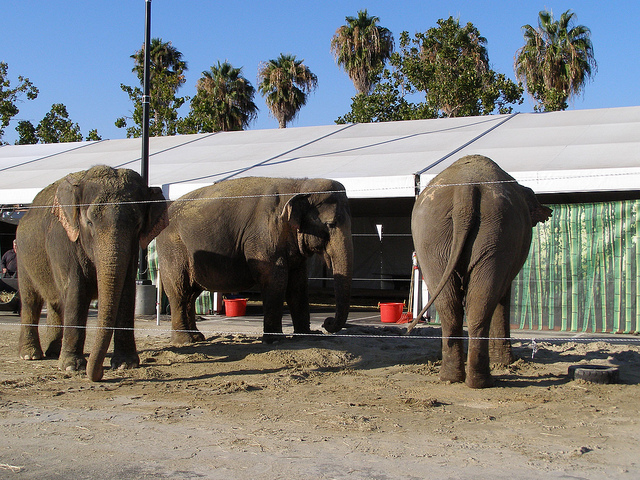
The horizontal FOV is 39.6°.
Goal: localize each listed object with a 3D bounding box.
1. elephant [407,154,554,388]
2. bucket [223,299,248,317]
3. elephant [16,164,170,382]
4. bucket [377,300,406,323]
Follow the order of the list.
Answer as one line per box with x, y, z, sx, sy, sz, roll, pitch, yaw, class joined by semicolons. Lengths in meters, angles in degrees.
1.864;0.368;10.909;1.409;2.851;0.698;0;-4;5;elephant
-1.733;1.391;18.209;0.320;0.252;0.357;4;-10;-30;bucket
-3.424;0.387;12.604;1.566;3.023;3.402;3;-4;-33;elephant
1.375;1.380;17.119;0.367;0.299;0.344;0;-12;0;bucket
